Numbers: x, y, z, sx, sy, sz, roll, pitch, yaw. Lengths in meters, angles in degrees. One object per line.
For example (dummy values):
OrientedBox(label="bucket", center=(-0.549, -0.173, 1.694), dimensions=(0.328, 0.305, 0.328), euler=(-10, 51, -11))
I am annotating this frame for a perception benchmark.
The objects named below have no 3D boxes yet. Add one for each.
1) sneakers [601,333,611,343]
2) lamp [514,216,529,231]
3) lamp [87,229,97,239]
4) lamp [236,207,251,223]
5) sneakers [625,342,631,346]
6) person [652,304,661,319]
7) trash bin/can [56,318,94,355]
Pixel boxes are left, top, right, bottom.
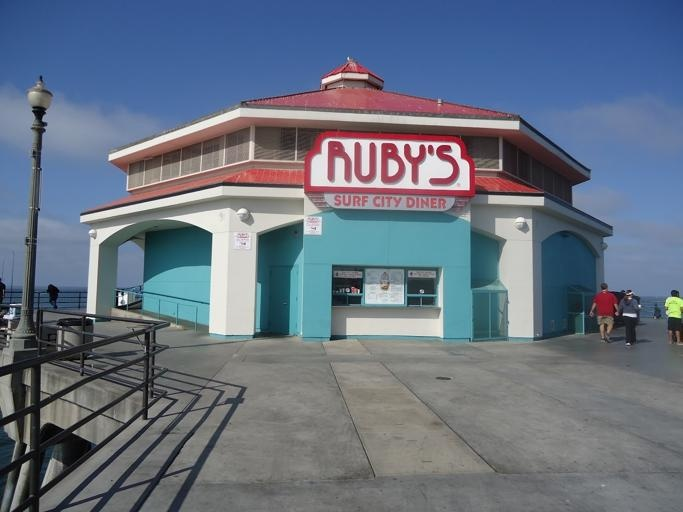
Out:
OrientedBox(label="sneakers", center=(8.865, 2.733, 20.353), dimensions=(0.207, 0.428, 0.165), euler=(-5, -2, -7))
OrientedBox(label="lamp", center=(6.146, -1.077, 20.568), dimensions=(0.505, 0.474, 0.242), euler=(0, 5, -22))
OrientedBox(label="lamp", center=(-9.920, -0.864, 24.244), dimensions=(0.281, 0.380, 1.040), euler=(0, 5, -23))
OrientedBox(label="lamp", center=(-3.102, -1.293, 19.266), dimensions=(0.464, 0.464, 0.305), euler=(1, 5, -11))
OrientedBox(label="sneakers", center=(9.148, 2.773, 19.368), dimensions=(0.099, 0.113, 0.308), euler=(-4, -15, 13))
OrientedBox(label="person", center=(17.876, 3.107, 34.322), dimensions=(0.333, 0.802, 0.584), euler=(4, 5, 22))
OrientedBox(label="trash bin/can", center=(-6.502, 1.966, 14.534), dimensions=(1.145, 0.806, 1.121), euler=(6, -8, -37))
